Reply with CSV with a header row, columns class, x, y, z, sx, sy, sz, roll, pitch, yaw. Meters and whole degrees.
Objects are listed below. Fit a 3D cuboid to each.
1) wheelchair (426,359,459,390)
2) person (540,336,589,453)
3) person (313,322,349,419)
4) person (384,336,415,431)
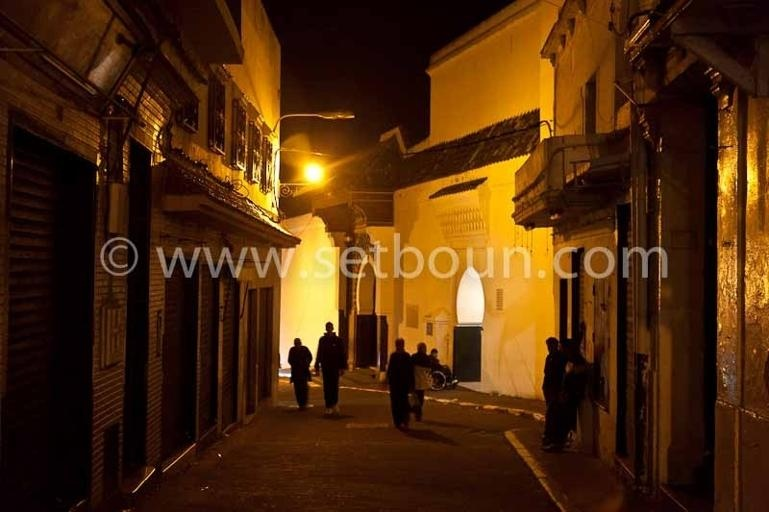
class,x,y,z,sx,sy,sz,roll,pitch,yaw
wheelchair,1.663,3.446,20.927,0.807,0.906,0.680,-3,-5,11
person,3.023,2.275,11.979,0.801,1.813,0.651,-2,-4,37
person,-1.234,2.523,16.364,0.676,2.037,0.886,1,-3,-6
person,0.323,2.520,14.449,0.516,1.740,0.808,0,-3,0
